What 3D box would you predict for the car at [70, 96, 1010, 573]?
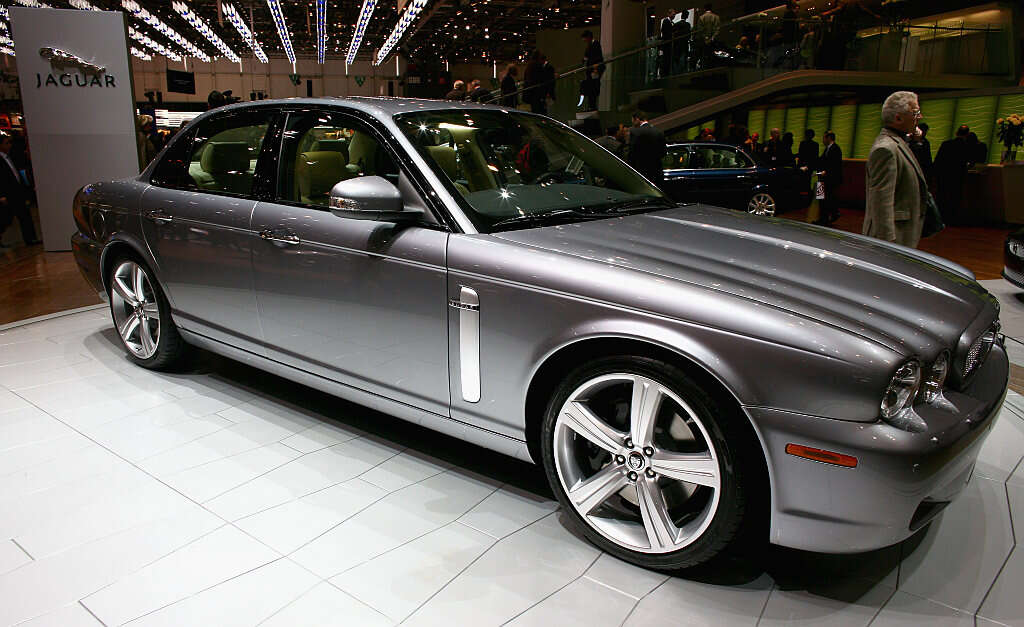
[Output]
[{"bbox_3d":[-0.493,-0.310,4.112,6.477,2.314,2.018,10,22,29],"label":"car"}]
